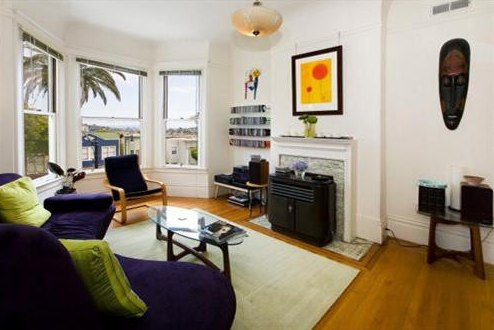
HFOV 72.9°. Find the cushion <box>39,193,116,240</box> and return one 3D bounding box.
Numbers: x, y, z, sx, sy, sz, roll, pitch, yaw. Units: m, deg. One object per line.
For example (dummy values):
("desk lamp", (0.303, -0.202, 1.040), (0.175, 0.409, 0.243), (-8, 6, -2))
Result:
("cushion", (-2.121, 0.617, 4.194), (0.673, 0.253, 0.701), (0, 22, -10))

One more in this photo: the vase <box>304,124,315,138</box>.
("vase", (0.938, -0.518, 4.983), (0.150, 0.201, 0.213), (1, 7, 10))

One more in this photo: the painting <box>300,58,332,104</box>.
("painting", (1.063, -1.306, 5.038), (0.690, 0.782, 0.031), (5, 10, 36))

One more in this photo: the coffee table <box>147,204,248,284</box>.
("coffee table", (-0.658, 0.878, 4.241), (1.268, 0.699, 1.645), (5, 12, -20))

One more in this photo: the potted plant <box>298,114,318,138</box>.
("potted plant", (0.926, -0.585, 4.957), (0.300, 0.387, 0.342), (-2, 4, -9))

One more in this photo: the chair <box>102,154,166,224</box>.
("chair", (-1.874, 0.356, 5.563), (0.755, 0.962, 0.822), (7, 12, 44))

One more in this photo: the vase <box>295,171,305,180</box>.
("vase", (0.792, 0.140, 4.937), (0.115, 0.122, 0.115), (0, -1, 10))

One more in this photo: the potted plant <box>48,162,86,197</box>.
("potted plant", (-2.696, 0.210, 5.116), (0.502, 0.337, 0.503), (6, -4, -4))

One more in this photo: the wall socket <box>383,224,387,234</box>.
("wall socket", (1.970, 0.918, 4.772), (0.021, 0.117, 0.183), (4, 8, 35))
